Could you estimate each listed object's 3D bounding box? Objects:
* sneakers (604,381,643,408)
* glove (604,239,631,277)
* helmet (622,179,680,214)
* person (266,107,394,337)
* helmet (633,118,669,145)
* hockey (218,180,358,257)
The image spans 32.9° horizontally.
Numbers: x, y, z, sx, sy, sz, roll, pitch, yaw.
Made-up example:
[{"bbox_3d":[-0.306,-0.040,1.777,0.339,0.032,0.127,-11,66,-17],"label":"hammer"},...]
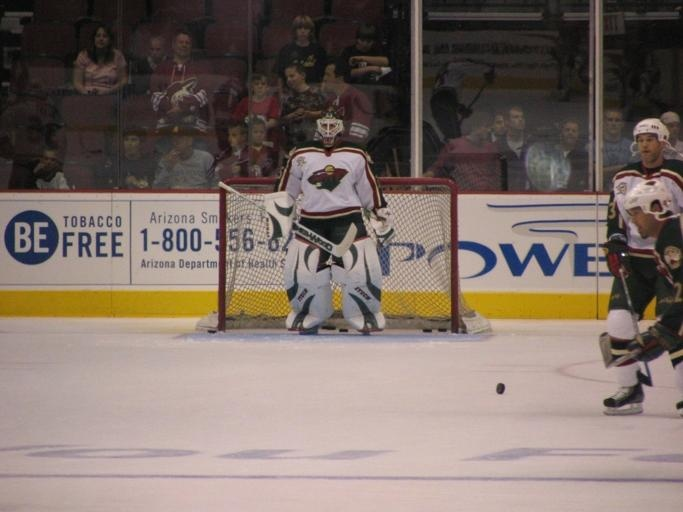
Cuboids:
[{"bbox_3d":[1.720,0.865,7.201,0.338,0.138,0.104,-7,2,-14],"label":"sneakers"},{"bbox_3d":[1.727,0.014,7.379,0.148,0.217,0.089,8,-5,25],"label":"glove"},{"bbox_3d":[1.867,-0.344,7.121,0.284,0.211,0.202,-14,10,11],"label":"helmet"},{"bbox_3d":[-0.116,-0.277,9.856,1.038,1.867,0.514,0,12,-4],"label":"person"},{"bbox_3d":[1.981,-0.815,7.529,0.195,0.178,0.261,3,4,45],"label":"helmet"},{"bbox_3d":[-0.453,-0.333,10.009,1.120,0.421,0.312,26,10,18],"label":"hockey"}]
